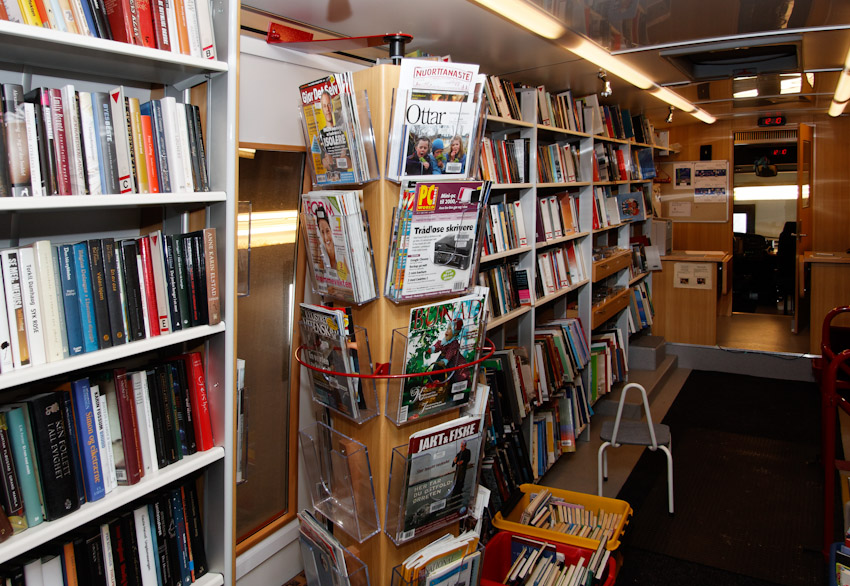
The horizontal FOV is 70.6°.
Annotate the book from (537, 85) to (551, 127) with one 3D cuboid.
[{"bbox_3d":[0.895,-1.410,4.515,0.053,0.239,0.230,-2,15,24],"label":"book"}]

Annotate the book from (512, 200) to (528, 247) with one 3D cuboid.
[{"bbox_3d":[0.663,-0.485,4.204,0.052,0.242,0.234,-5,3,8],"label":"book"}]

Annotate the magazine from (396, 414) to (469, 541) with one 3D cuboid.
[{"bbox_3d":[0.004,0.921,3.041,0.363,0.582,0.195,-8,13,-34],"label":"magazine"}]

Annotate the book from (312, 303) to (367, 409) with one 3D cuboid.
[{"bbox_3d":[-0.411,0.298,2.934,0.080,0.667,0.498,-12,2,3],"label":"book"}]

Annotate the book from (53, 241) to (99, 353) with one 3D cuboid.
[{"bbox_3d":[-1.211,0.012,2.072,0.115,0.357,0.356,-5,4,-29],"label":"book"}]

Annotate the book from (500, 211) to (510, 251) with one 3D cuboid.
[{"bbox_3d":[0.526,-0.415,4.008,0.030,0.283,0.209,-8,12,9],"label":"book"}]

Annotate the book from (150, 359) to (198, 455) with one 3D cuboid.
[{"bbox_3d":[-0.988,0.442,2.341,0.181,0.324,0.330,-5,-2,-34],"label":"book"}]

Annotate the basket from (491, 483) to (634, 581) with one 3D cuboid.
[{"bbox_3d":[0.863,1.391,3.732,0.613,0.223,0.528,1,1,30],"label":"basket"}]

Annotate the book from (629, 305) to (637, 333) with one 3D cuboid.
[{"bbox_3d":[2.321,0.311,6.746,0.065,0.261,0.216,6,13,32],"label":"book"}]

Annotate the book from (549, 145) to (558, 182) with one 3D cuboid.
[{"bbox_3d":[1.021,-1.037,4.777,0.074,0.272,0.040,0,11,0],"label":"book"}]

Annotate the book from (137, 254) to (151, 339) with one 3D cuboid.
[{"bbox_3d":[-1.045,0.013,2.231,0.024,0.304,0.046,-6,12,-27],"label":"book"}]

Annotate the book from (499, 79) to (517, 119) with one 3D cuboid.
[{"bbox_3d":[0.570,-1.333,4.110,0.045,0.203,0.203,-17,-31,12],"label":"book"}]

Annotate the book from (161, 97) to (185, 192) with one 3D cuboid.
[{"bbox_3d":[-0.952,-0.562,2.259,0.040,0.368,0.271,-9,17,-22],"label":"book"}]

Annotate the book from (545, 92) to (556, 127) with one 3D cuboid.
[{"bbox_3d":[0.976,-1.436,4.664,0.044,0.200,0.198,-1,25,16],"label":"book"}]

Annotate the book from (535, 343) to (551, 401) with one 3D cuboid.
[{"bbox_3d":[0.879,0.572,4.482,0.071,0.327,0.315,-5,-2,7],"label":"book"}]

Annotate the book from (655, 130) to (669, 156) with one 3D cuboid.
[{"bbox_3d":[3.141,-1.994,7.944,0.154,0.326,0.892,4,13,22],"label":"book"}]

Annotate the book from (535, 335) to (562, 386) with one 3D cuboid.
[{"bbox_3d":[0.994,0.538,4.672,0.067,0.294,0.282,-2,1,-4],"label":"book"}]

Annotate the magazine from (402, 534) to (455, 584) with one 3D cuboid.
[{"bbox_3d":[0.018,1.319,3.027,0.208,0.073,0.204,-6,4,-43],"label":"magazine"}]

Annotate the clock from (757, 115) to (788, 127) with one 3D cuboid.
[{"bbox_3d":[4.637,-2.293,7.980,0.424,0.136,0.182,-2,12,-8],"label":"clock"}]

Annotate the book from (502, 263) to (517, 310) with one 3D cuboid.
[{"bbox_3d":[0.589,-0.055,4.170,0.053,0.240,0.232,-3,6,13],"label":"book"}]

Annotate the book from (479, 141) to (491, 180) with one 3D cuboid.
[{"bbox_3d":[0.370,-0.817,3.749,0.034,0.161,0.156,-3,6,8],"label":"book"}]

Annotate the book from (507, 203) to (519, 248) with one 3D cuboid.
[{"bbox_3d":[0.605,-0.464,4.119,0.048,0.218,0.209,-3,4,6],"label":"book"}]

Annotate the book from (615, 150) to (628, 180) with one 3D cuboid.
[{"bbox_3d":[2.104,-1.383,6.428,0.129,0.305,0.044,1,11,7],"label":"book"}]

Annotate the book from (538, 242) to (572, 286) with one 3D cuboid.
[{"bbox_3d":[1.087,-0.254,4.984,0.060,0.278,0.265,0,-5,-25],"label":"book"}]

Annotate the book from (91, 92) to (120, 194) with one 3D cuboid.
[{"bbox_3d":[-1.129,-0.536,2.110,0.043,0.399,0.282,-5,14,-28],"label":"book"}]

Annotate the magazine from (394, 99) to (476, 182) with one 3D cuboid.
[{"bbox_3d":[0.029,-0.735,2.819,0.332,0.410,0.055,-8,21,-25],"label":"magazine"}]

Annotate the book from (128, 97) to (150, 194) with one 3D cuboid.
[{"bbox_3d":[-1.045,-0.526,2.188,0.036,0.375,0.274,-9,16,-23],"label":"book"}]

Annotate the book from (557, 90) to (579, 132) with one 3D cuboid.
[{"bbox_3d":[1.231,-1.540,5.056,0.066,0.311,0.291,-2,10,24],"label":"book"}]

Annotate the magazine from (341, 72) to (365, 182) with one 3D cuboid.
[{"bbox_3d":[-0.331,-0.759,2.752,0.055,0.466,0.062,0,17,15],"label":"magazine"}]

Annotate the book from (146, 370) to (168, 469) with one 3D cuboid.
[{"bbox_3d":[-1.026,0.487,2.296,0.059,0.278,0.260,-2,6,-8],"label":"book"}]

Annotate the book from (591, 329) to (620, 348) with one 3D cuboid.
[{"bbox_3d":[1.850,0.452,6.139,0.282,0.159,0.244,3,12,16],"label":"book"}]

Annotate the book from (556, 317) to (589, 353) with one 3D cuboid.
[{"bbox_3d":[1.227,0.353,5.027,0.058,0.270,0.257,-7,-1,-10],"label":"book"}]

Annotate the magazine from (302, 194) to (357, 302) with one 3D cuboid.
[{"bbox_3d":[-0.456,-0.239,2.906,0.097,0.576,0.487,-18,13,-24],"label":"magazine"}]

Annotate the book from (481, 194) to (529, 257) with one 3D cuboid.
[{"bbox_3d":[0.580,-0.442,4.167,0.229,0.345,0.343,-14,-8,27],"label":"book"}]

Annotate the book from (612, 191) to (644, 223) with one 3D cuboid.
[{"bbox_3d":[2.192,-0.948,6.523,0.065,0.282,0.393,0,5,43],"label":"book"}]

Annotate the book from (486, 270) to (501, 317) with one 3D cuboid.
[{"bbox_3d":[0.456,0.008,3.984,0.049,0.228,0.219,-6,0,10],"label":"book"}]

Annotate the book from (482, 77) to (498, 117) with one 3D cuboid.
[{"bbox_3d":[0.409,-1.223,3.798,0.055,0.243,0.237,0,32,24],"label":"book"}]

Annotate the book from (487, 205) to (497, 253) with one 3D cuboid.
[{"bbox_3d":[0.438,-0.405,3.878,0.052,0.276,0.051,1,11,6],"label":"book"}]

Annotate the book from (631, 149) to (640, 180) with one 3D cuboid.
[{"bbox_3d":[2.454,-1.507,6.963,0.192,0.350,0.076,-10,15,-42],"label":"book"}]

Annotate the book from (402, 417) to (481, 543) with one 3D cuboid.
[{"bbox_3d":[0.073,0.935,3.046,0.483,0.603,0.060,-7,20,-37],"label":"book"}]

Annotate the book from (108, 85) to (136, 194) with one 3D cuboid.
[{"bbox_3d":[-1.087,-0.539,2.145,0.043,0.421,0.304,-8,14,-27],"label":"book"}]

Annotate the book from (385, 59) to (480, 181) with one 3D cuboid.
[{"bbox_3d":[0.073,-0.775,2.585,0.442,0.430,0.107,3,17,-20],"label":"book"}]

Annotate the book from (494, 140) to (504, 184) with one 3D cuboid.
[{"bbox_3d":[0.488,-0.872,3.971,0.040,0.186,0.178,-3,15,8],"label":"book"}]

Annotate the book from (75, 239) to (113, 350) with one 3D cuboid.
[{"bbox_3d":[-1.167,0.002,2.103,0.048,0.443,0.359,-6,2,-28],"label":"book"}]

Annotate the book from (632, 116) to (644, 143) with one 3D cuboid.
[{"bbox_3d":[2.454,-1.901,6.923,0.250,0.254,0.059,-7,8,-43],"label":"book"}]

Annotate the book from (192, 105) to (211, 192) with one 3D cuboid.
[{"bbox_3d":[-0.877,-0.575,2.343,0.034,0.325,0.241,-9,24,-16],"label":"book"}]

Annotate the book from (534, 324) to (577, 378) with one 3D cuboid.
[{"bbox_3d":[1.046,0.451,4.914,0.081,0.373,0.358,-6,-3,-6],"label":"book"}]

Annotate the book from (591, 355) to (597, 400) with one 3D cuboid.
[{"bbox_3d":[1.537,0.770,5.460,0.054,0.400,0.125,3,11,16],"label":"book"}]

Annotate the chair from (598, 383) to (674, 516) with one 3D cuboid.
[{"bbox_3d":[1.487,1.055,4.193,0.525,1.022,0.501,4,12,23],"label":"chair"}]

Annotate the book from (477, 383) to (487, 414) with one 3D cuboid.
[{"bbox_3d":[0.308,0.562,3.201,0.029,0.126,0.087,4,4,12],"label":"book"}]

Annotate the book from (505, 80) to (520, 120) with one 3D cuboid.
[{"bbox_3d":[0.587,-1.336,4.156,0.031,0.256,0.196,-24,12,4],"label":"book"}]

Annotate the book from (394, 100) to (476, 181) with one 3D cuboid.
[{"bbox_3d":[0.029,-0.734,2.820,0.330,0.389,0.125,-3,15,-22],"label":"book"}]

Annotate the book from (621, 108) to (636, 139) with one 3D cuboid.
[{"bbox_3d":[2.188,-1.824,6.440,0.062,0.271,0.272,-1,7,23],"label":"book"}]
